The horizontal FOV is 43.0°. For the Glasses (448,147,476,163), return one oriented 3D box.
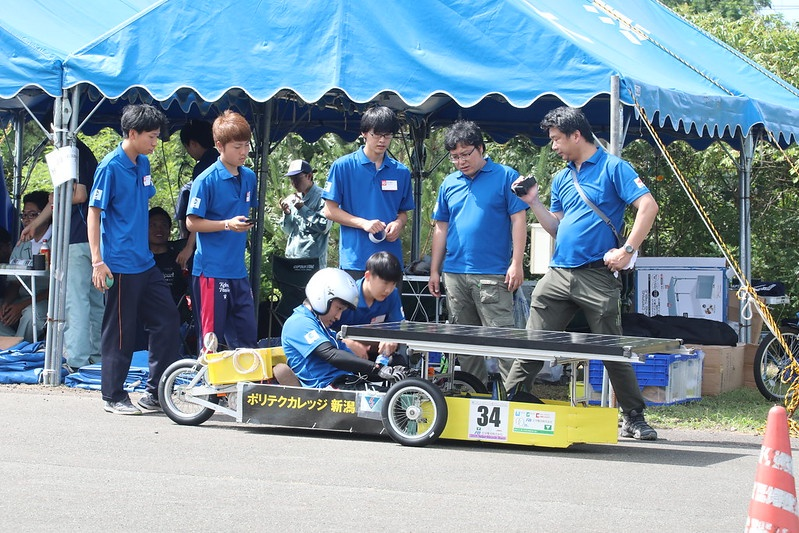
[{"bbox_3d":[0.656,-1.118,9.992,0.170,0.064,0.178,-17,0,37],"label":"Glasses"}]

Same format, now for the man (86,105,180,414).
[{"bbox_3d":[-2.648,-0.056,10.156,0.850,3.104,0.504,-1,8,-15],"label":"man"}]

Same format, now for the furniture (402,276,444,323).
[{"bbox_3d":[0.442,0.462,13.447,0.520,0.572,0.647,3,-1,-41],"label":"furniture"}]

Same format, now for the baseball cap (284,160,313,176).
[{"bbox_3d":[-1.271,-1.257,12.909,0.344,0.175,0.266,7,-3,-6],"label":"baseball cap"}]

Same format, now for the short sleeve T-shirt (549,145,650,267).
[{"bbox_3d":[1.877,-0.563,9.804,0.616,1.099,1.222,-7,4,-36],"label":"short sleeve T-shirt"}]

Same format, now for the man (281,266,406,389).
[{"bbox_3d":[-0.485,0.641,9.621,1.217,1.233,0.941,5,2,23],"label":"man"}]

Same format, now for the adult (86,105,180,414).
[{"bbox_3d":[-2.649,-0.056,10.157,0.848,3.104,0.506,-1,8,-15],"label":"adult"}]

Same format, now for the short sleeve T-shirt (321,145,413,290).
[{"bbox_3d":[-0.272,-0.572,10.385,1.056,1.222,0.451,2,-2,-14],"label":"short sleeve T-shirt"}]

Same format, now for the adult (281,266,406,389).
[{"bbox_3d":[-0.489,0.643,9.618,1.206,1.171,0.899,6,4,19],"label":"adult"}]

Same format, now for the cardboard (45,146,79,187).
[{"bbox_3d":[-3.760,-1.133,11.435,0.418,0.389,0.114,-13,-7,19],"label":"cardboard"}]

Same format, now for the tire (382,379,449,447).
[{"bbox_3d":[0.147,1.306,9.063,0.643,0.640,0.150,-2,1,12],"label":"tire"}]

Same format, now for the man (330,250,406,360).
[{"bbox_3d":[-0.282,0.391,9.692,0.797,1.053,0.753,7,15,-9],"label":"man"}]

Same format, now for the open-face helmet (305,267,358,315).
[{"bbox_3d":[-0.596,0.225,9.534,0.484,0.397,0.361,26,10,15],"label":"open-face helmet"}]

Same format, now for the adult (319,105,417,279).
[{"bbox_3d":[-0.308,-0.750,10.210,0.901,1.716,0.613,1,8,0],"label":"adult"}]

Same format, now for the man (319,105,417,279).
[{"bbox_3d":[-0.250,-0.303,10.304,0.956,2.497,0.754,-2,6,-15],"label":"man"}]

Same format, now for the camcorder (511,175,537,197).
[{"bbox_3d":[1.203,-0.775,9.696,0.264,0.149,0.125,-21,4,-17],"label":"camcorder"}]

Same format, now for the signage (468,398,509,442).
[{"bbox_3d":[0.803,1.364,9.029,0.360,0.347,0.035,5,-8,13],"label":"signage"}]

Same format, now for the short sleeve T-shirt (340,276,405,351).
[{"bbox_3d":[-0.216,0.450,9.922,0.682,0.499,0.378,-7,11,25],"label":"short sleeve T-shirt"}]

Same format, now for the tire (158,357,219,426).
[{"bbox_3d":[-2.050,1.254,9.959,0.649,0.652,0.638,-5,-14,23],"label":"tire"}]
